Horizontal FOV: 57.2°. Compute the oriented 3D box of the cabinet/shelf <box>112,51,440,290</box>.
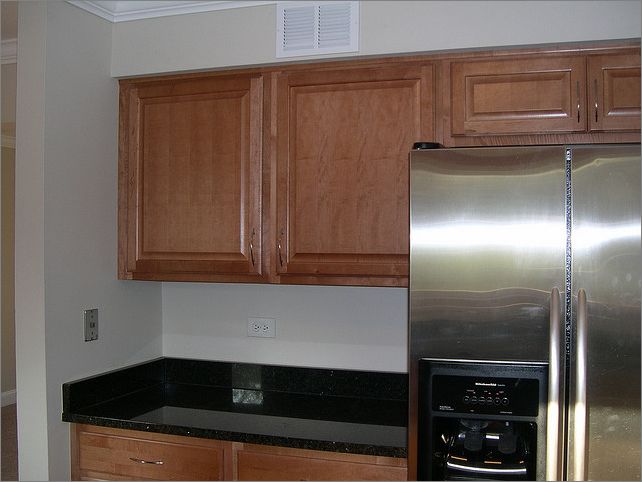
[{"bbox_3d":[-0.226,-0.272,2.886,1.411,0.983,0.490,-1,-4,4],"label":"cabinet/shelf"}]
